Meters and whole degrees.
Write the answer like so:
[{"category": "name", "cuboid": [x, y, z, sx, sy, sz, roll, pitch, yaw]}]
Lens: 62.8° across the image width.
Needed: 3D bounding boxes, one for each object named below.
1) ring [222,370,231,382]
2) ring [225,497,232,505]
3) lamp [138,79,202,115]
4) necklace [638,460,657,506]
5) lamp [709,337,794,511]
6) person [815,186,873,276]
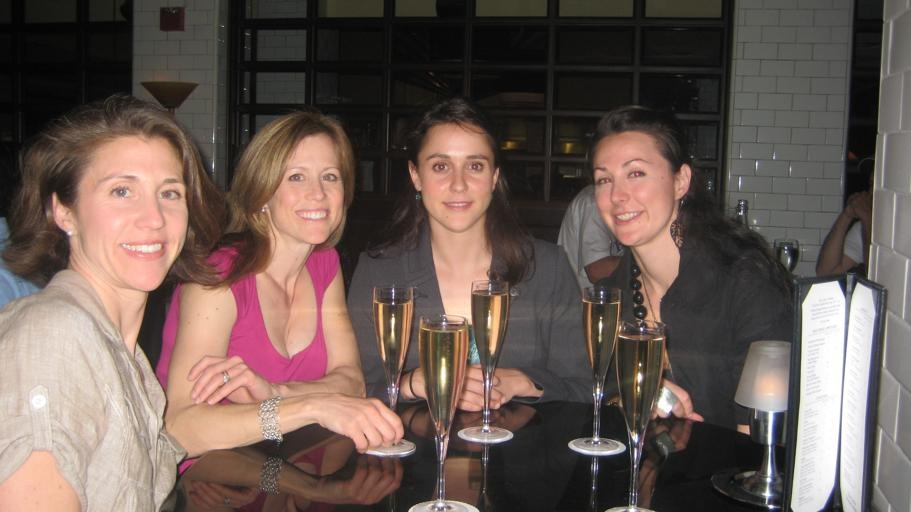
[{"category": "ring", "cuboid": [-0.945, 0.492, 3.065, 0.040, 0.045, 0.022, 0, -7, -14]}, {"category": "ring", "cuboid": [-0.768, 0.825, 2.510, 0.015, 0.014, 0.016, -3, -1, 0]}, {"category": "lamp", "cuboid": [-2.563, -1.346, 6.713, 0.463, 0.413, 0.432, -4, -3, -34]}, {"category": "necklace", "cuboid": [0.675, 0.800, 2.636, 0.050, 0.043, 0.164, 14, 26, 8]}, {"category": "lamp", "cuboid": [1.065, 0.588, 2.700, 0.243, 0.611, 0.308, 1, 0, 22]}, {"category": "person", "cuboid": [2.728, -0.166, 5.239, 0.282, 0.639, 0.792, 1, 0, 20]}]
